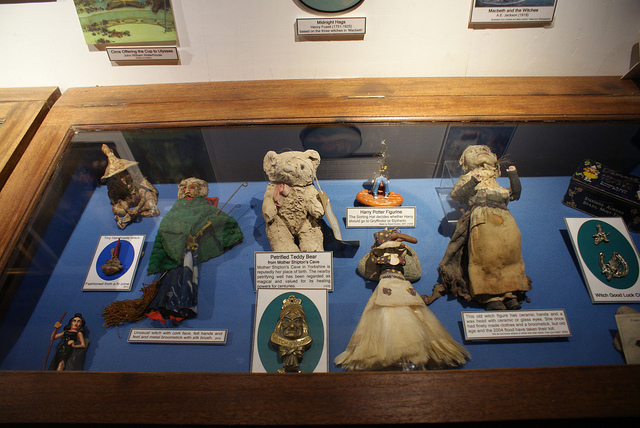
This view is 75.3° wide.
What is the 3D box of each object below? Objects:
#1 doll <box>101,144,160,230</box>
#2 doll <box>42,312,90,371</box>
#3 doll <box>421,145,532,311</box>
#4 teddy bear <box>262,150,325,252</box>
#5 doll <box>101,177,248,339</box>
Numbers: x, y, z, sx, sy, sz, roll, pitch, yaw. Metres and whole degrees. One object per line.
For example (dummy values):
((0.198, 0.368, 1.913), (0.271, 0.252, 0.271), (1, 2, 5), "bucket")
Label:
((-1.352, -0.221, 2.882), (0.375, 0.508, 0.397), (0, 20, 33), "doll")
((-1.409, 0.750, 2.298), (0.200, 0.098, 0.430), (15, 54, -18), "doll")
((1.054, 0.058, 2.799), (0.737, 0.456, 1.157), (3, 74, 4), "doll")
((-0.181, -0.062, 2.733), (0.407, 0.401, 0.710), (-3, 44, 0), "teddy bear")
((-0.901, 0.186, 2.740), (0.862, 0.208, 1.050), (0, 65, -12), "doll")
